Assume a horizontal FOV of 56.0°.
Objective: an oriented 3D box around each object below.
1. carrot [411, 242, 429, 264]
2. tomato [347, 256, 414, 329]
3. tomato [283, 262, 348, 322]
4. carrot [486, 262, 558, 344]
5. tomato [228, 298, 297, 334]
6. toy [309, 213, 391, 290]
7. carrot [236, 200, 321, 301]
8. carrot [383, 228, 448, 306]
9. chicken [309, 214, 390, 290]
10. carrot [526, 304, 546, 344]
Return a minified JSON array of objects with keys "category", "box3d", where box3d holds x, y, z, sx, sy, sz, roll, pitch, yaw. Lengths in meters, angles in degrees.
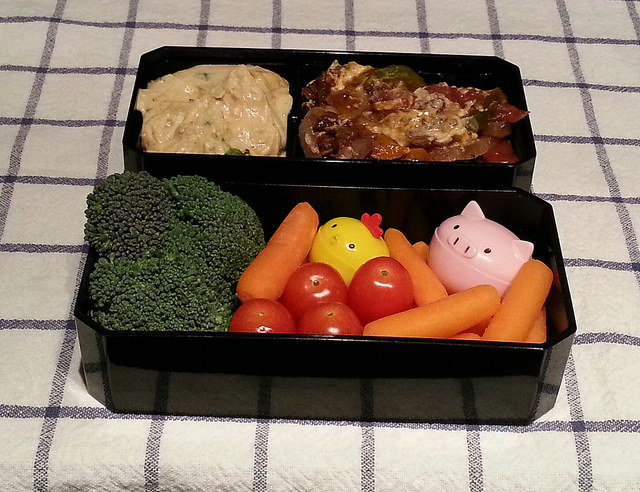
[{"category":"carrot","box3d":[0.282,0.019,1.669,0.038,0.028,0.050,4,28,-2]},{"category":"tomato","box3d":[0.172,0.131,1.520,0.166,0.163,0.202,9,74,-21]},{"category":"tomato","box3d":[-0.006,0.124,1.536,0.157,0.159,0.156,6,84,-9]},{"category":"carrot","box3d":[0.493,0.175,1.484,0.117,0.076,0.235,25,67,8]},{"category":"tomato","box3d":[-0.135,0.167,1.404,0.150,0.059,0.091,1,58,-2]},{"category":"toy","box3d":[0.071,-0.024,1.659,0.199,0.202,0.189,-19,27,-34]},{"category":"carrot","box3d":[-0.099,0.025,1.613,0.113,0.111,0.353,19,46,9]},{"category":"carrot","box3d":[0.250,0.053,1.638,0.079,0.080,0.286,-14,49,-23]},{"category":"chicken","box3d":[0.088,-0.027,1.663,0.196,0.197,0.185,-19,27,-35]},{"category":"carrot","box3d":[0.529,0.188,1.493,0.031,0.033,0.107,18,66,20]}]
